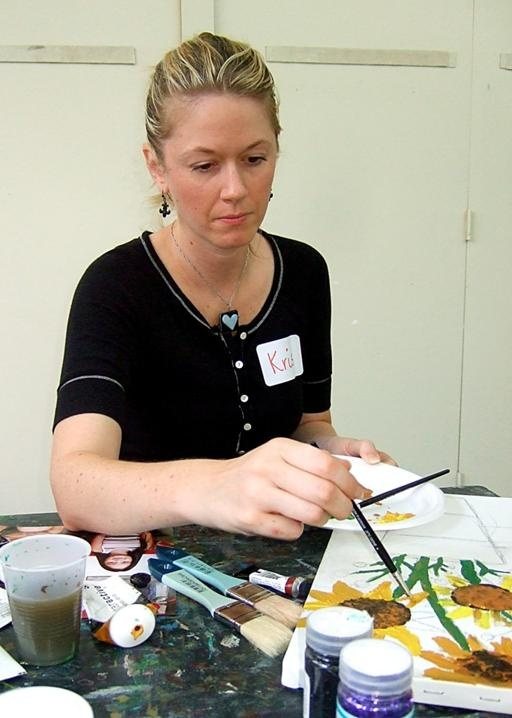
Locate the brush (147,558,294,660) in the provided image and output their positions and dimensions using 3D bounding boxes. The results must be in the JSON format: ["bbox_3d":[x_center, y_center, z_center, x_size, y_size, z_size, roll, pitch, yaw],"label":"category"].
[{"bbox_3d":[-0.057,0.276,0.770,0.258,0.028,0.056,12,4,43],"label":"brush"}]

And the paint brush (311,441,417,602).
[{"bbox_3d":[0.122,0.254,0.855,0.112,0.080,0.136,1,5,-1],"label":"paint brush"}]

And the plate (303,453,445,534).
[{"bbox_3d":[0.206,0.192,1.043,0.236,0.097,0.266,1,4,-1],"label":"plate"}]

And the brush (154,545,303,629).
[{"bbox_3d":[-0.044,0.257,0.818,0.056,0.024,0.245,-1,9,-42],"label":"brush"}]
